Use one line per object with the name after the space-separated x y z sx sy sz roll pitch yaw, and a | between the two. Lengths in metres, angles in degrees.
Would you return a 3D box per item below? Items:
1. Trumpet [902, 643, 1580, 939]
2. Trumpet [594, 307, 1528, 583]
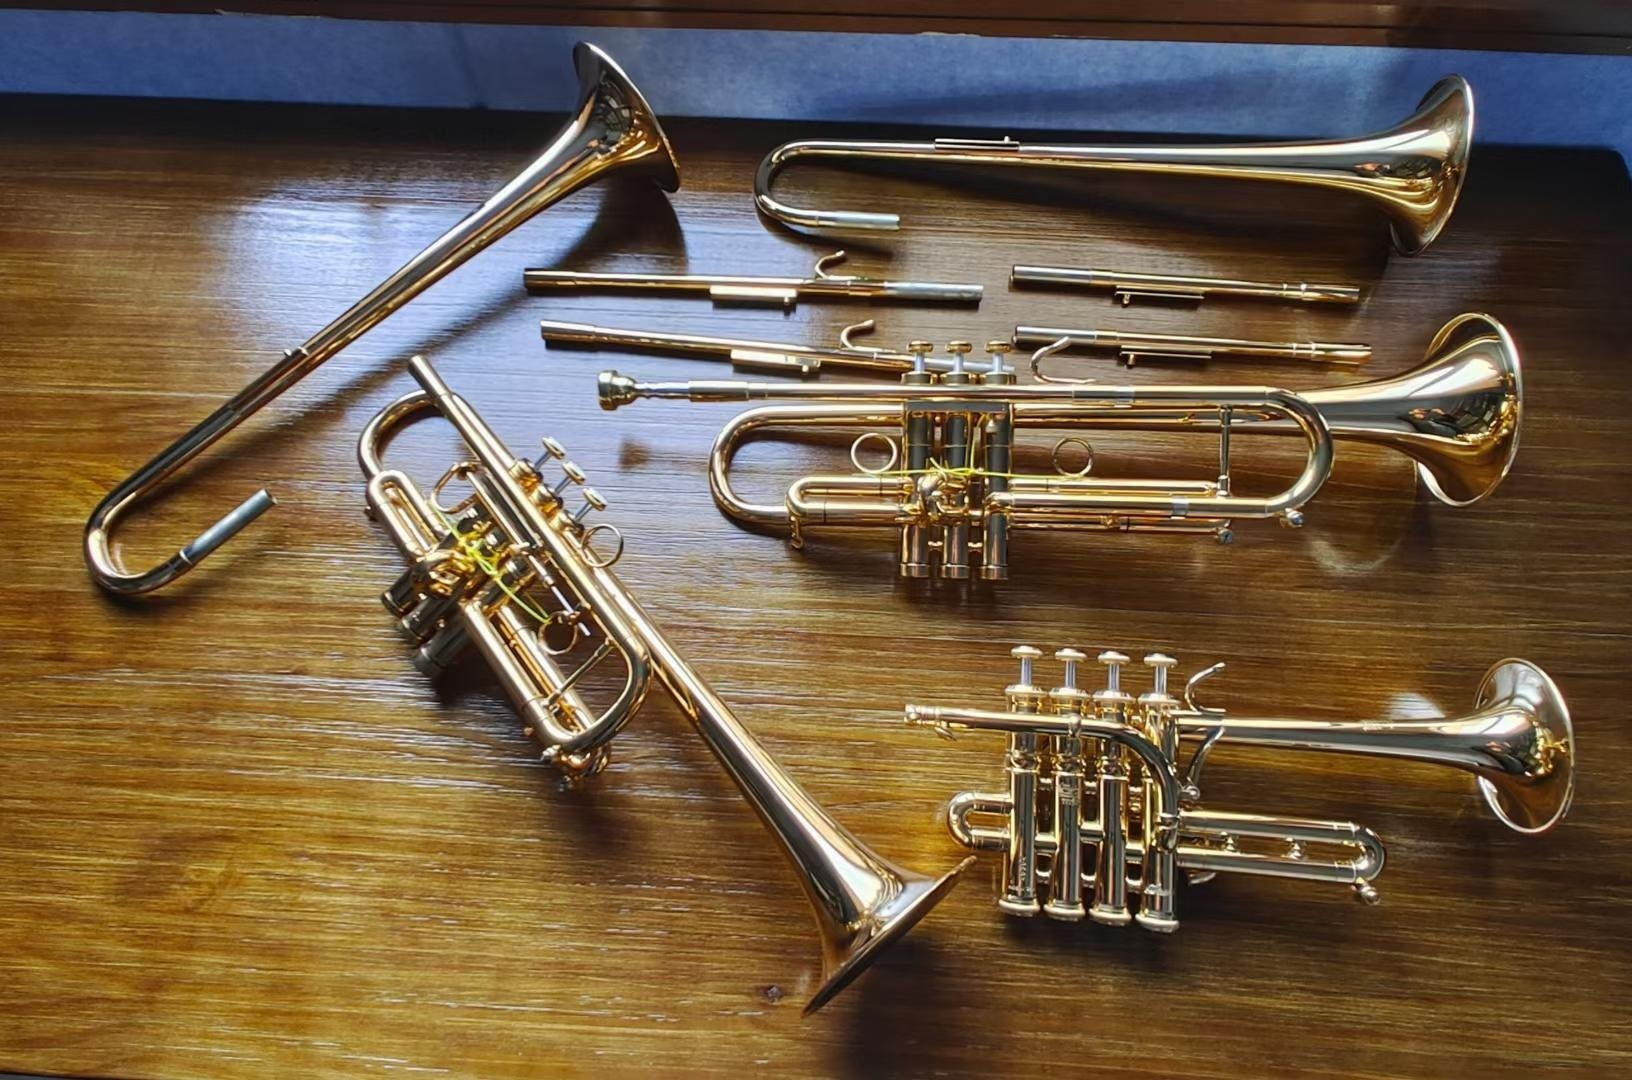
0.726 0.389 2.676 1.051 0.362 0.462 -7 57 -1 | Trumpet
-0.016 -0.186 2.915 2.376 0.453 0.390 1 95 4 | Trumpet
